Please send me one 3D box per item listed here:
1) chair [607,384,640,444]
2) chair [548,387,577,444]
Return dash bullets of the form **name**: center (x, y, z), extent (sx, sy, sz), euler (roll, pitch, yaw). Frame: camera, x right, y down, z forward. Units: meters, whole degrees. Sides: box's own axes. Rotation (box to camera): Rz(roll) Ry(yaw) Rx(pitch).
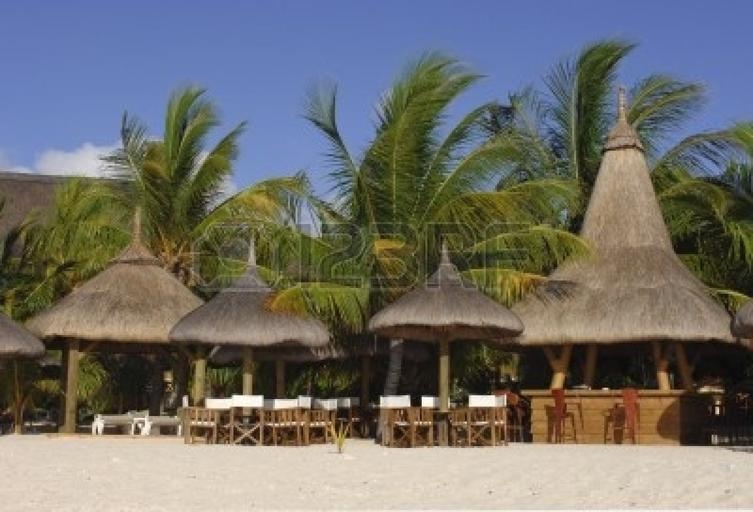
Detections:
- **chair**: center (6.217, 4.021, 28.133), extent (0.824, 1.336, 0.720), euler (-2, -16, 11)
- **chair**: center (4.731, 4.080, 28.498), extent (0.750, 1.324, 0.807), euler (-2, -16, 10)
